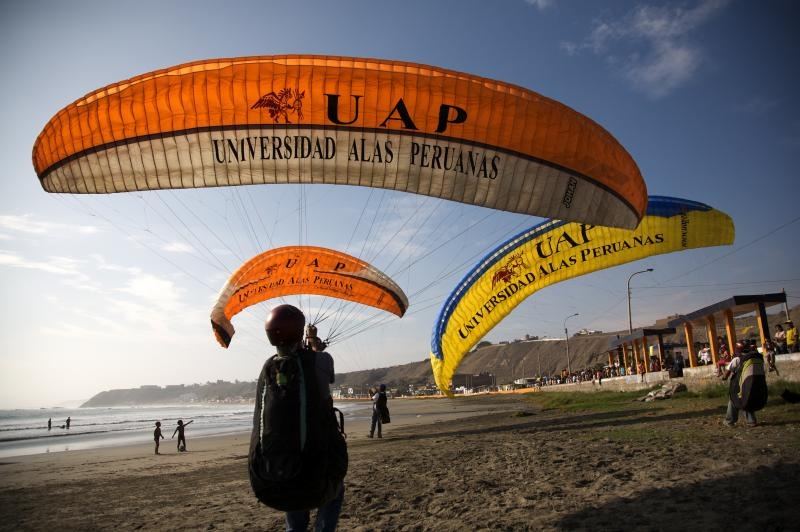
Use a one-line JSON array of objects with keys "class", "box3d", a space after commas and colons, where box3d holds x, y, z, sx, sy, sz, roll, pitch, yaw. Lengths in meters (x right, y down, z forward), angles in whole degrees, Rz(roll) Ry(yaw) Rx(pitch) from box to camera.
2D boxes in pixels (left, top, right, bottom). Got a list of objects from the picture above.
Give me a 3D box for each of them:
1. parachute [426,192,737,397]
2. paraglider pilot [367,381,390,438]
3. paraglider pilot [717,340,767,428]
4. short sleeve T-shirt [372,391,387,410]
[{"class": "parachute", "box3d": [5.501, 1.154, 16.669, 9.590, 5.556, 2.713, -14, -15, 35]}, {"class": "paraglider pilot", "box3d": [-0.799, 5.302, 18.280, 0.862, 1.877, 0.717, 8, -12, -7]}, {"class": "paraglider pilot", "box3d": [7.715, 2.597, 10.875, 0.642, 1.903, 0.902, 1, -4, -12]}, {"class": "short sleeve T-shirt", "box3d": [-0.758, 4.905, 18.066, 0.367, 0.679, 0.657, 7, -17, -45]}]
